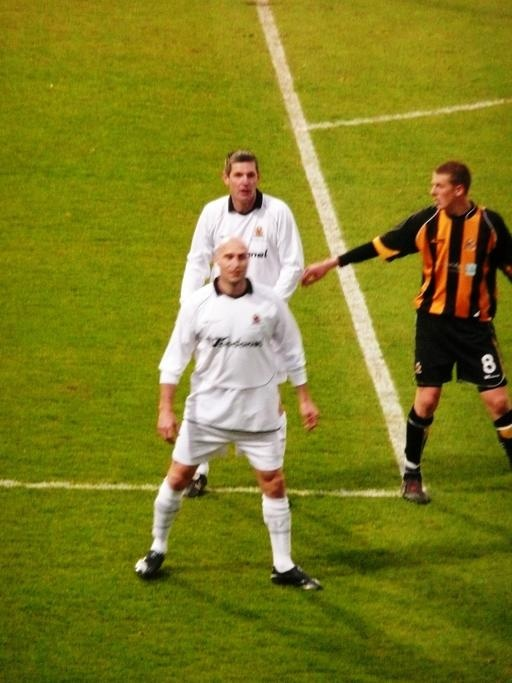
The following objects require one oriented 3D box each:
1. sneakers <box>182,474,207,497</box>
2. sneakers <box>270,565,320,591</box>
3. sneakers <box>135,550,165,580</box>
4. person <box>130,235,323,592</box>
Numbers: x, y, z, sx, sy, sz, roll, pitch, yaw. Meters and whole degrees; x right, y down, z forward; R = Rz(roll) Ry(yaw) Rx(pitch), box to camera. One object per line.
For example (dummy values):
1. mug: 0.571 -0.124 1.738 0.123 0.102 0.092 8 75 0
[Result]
1. sneakers: -0.357 0.894 7.789 0.066 0.078 0.172 7 20 13
2. sneakers: 0.220 1.318 7.081 0.254 0.144 0.118 4 2 4
3. sneakers: -0.591 1.237 7.164 0.108 0.142 0.192 28 4 -25
4. person: -0.134 0.371 7.002 0.892 2.141 0.447 2 28 4
